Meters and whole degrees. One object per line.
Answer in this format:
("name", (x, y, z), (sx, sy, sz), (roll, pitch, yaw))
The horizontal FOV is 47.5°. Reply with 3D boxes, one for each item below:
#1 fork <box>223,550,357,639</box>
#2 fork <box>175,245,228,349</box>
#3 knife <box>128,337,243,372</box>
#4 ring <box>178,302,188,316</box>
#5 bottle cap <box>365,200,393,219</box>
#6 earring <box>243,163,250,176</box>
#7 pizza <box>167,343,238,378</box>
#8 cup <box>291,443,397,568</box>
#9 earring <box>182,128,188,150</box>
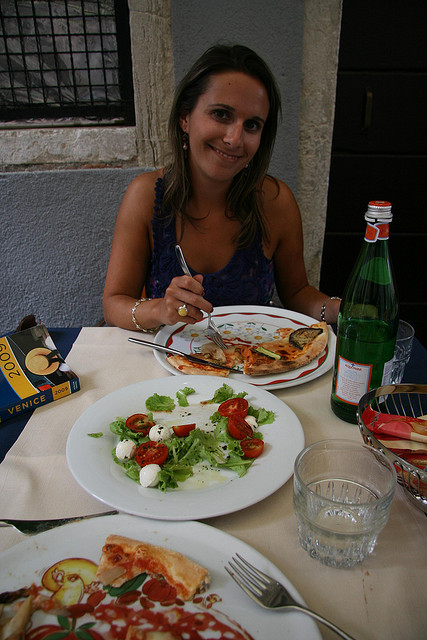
("fork", (0.092, 0.338, 0.591), (0.034, 0.022, 0.190), (-6, 17, -43))
("fork", (-0.043, -0.074, 1.529), (0.054, 0.047, 0.403), (-21, 74, -31))
("knife", (-0.073, 0.091, 1.231), (0.201, 0.011, 0.020), (18, 22, 16))
("ring", (-0.080, -0.028, 1.281), (0.025, 0.039, 0.027), (-1, 25, 1))
("bottle cap", (0.255, -0.175, 0.751), (0.035, 0.015, 0.035), (10, 30, 24))
("earring", (0.125, -0.592, 1.910), (0.020, 0.044, 0.030), (12, 28, 26))
("pizza", (-0.015, 0.102, 1.197), (0.086, 0.013, 0.094), (11, 28, 15))
("cup", (0.164, 0.243, 0.693), (0.145, 0.129, 0.164), (2, 19, 6))
("earring", (-0.108, -0.672, 1.821), (0.020, 0.056, 0.014), (-11, 27, -19))
